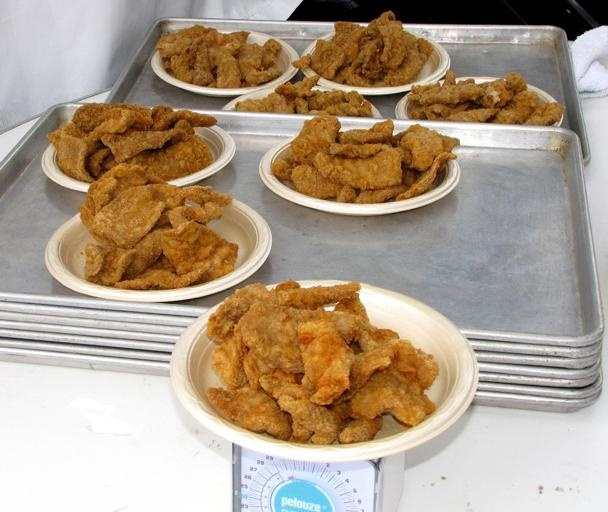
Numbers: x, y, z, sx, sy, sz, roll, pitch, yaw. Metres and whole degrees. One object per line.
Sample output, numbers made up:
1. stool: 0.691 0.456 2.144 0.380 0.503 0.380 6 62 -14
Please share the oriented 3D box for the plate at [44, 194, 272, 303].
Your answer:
1. plate: -0.362 -0.002 1.489 0.559 0.140 0.347 -9 55 -5
